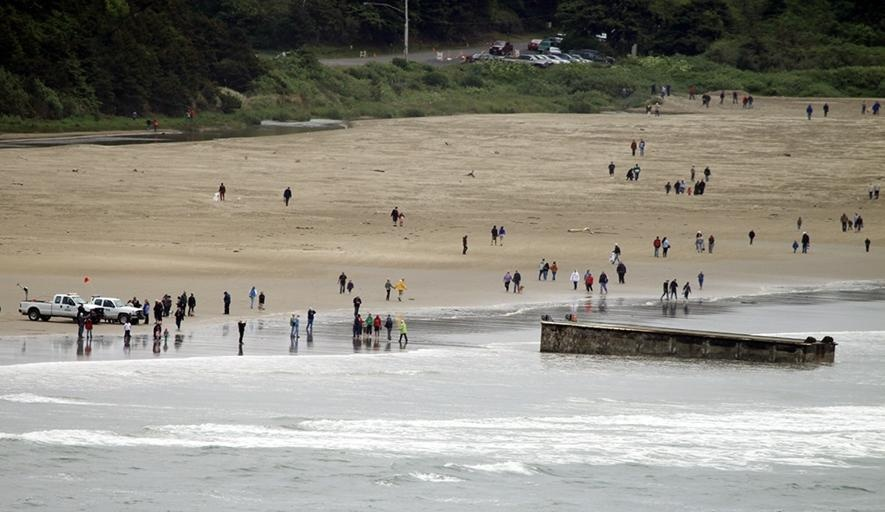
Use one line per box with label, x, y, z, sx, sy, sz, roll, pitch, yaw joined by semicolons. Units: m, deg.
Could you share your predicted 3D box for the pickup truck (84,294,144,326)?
pickup truck;-26.688;4.474;150.564;4.585;1.510;1.983;2;8;8
